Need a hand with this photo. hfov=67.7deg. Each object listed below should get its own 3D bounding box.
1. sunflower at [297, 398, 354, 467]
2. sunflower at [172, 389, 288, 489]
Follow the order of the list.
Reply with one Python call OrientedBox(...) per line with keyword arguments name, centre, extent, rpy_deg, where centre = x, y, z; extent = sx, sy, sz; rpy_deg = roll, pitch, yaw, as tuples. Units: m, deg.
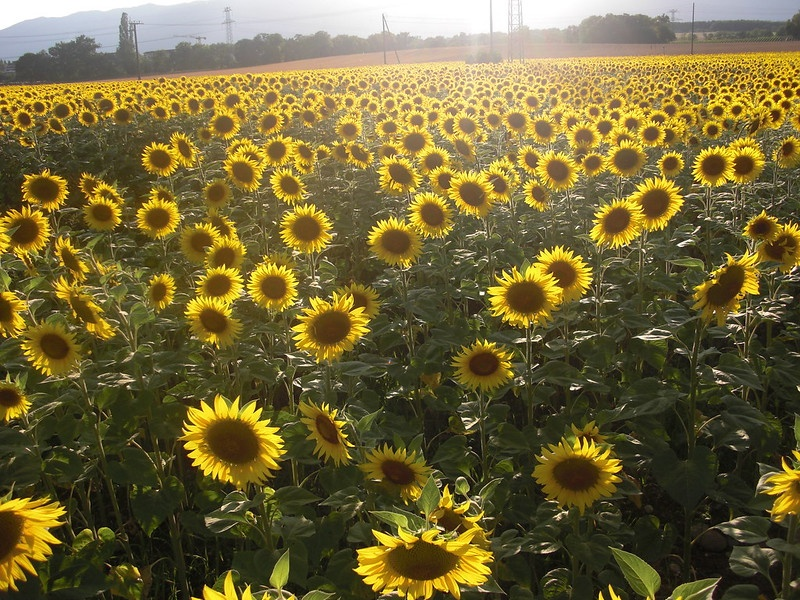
OrientedBox(name="sunflower", centre=(-0.449, 0.809, 3.639), extent=(0.090, 0.444, 0.431), rpy_deg=(-17, 41, -41))
OrientedBox(name="sunflower", centre=(-0.876, 0.779, 3.233), extent=(0.527, 0.704, 0.397), rpy_deg=(1, 14, 6))
